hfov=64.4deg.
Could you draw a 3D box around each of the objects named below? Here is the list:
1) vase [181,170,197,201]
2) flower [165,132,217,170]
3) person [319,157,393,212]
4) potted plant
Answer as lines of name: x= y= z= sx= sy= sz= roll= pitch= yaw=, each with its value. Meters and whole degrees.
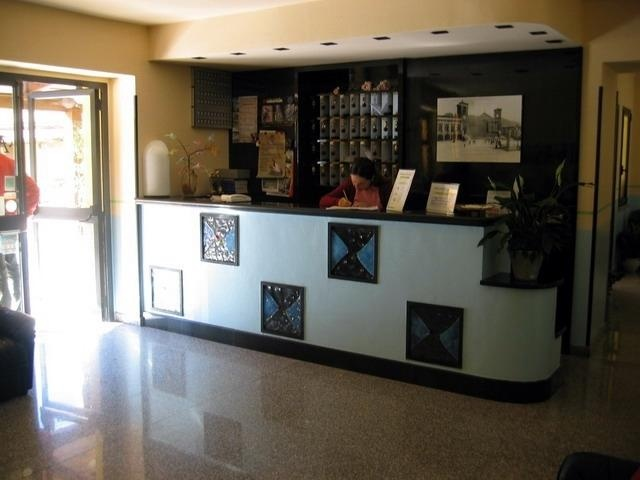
vase: x=-1.761 y=-0.752 z=6.847 sx=0.207 sy=0.339 sz=0.507 roll=-2 pitch=11 yaw=-15
flower: x=-1.782 y=-1.224 z=7.056 sx=0.520 sy=0.380 sz=0.529 roll=-3 pitch=13 yaw=-34
person: x=0.402 y=-0.634 z=5.775 sx=0.736 sy=0.563 sz=1.079 roll=1 pitch=11 yaw=5
potted plant: x=1.962 y=-0.114 z=4.537 sx=0.683 sy=0.977 sz=0.978 roll=4 pitch=6 yaw=13
